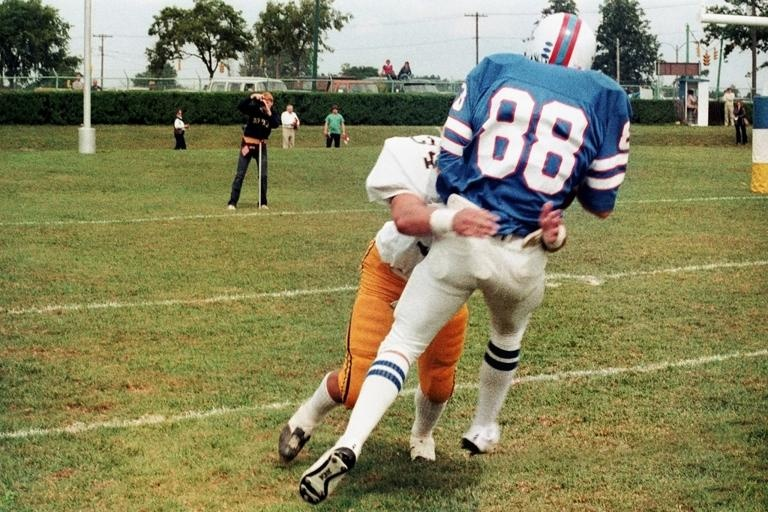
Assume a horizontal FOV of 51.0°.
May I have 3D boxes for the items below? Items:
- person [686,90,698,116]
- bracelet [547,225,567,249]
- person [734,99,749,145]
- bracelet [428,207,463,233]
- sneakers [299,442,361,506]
[{"bbox_3d":[13.426,-6.655,35.282,0.276,0.782,0.711,0,9,-15],"label":"person"},{"bbox_3d":[1.103,-0.108,5.162,0.116,0.159,0.091,10,-9,-7],"label":"bracelet"},{"bbox_3d":[11.697,-4.384,26.379,0.455,1.462,3.005,6,10,23],"label":"person"},{"bbox_3d":[0.350,-0.213,4.936,0.145,0.159,0.154,4,-1,13],"label":"bracelet"},{"bbox_3d":[-0.345,1.324,5.064,0.464,0.222,0.243,-41,0,6],"label":"sneakers"}]
